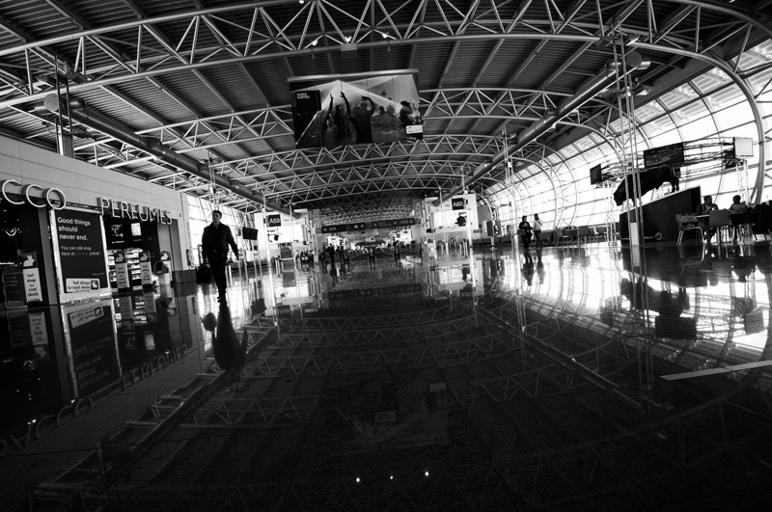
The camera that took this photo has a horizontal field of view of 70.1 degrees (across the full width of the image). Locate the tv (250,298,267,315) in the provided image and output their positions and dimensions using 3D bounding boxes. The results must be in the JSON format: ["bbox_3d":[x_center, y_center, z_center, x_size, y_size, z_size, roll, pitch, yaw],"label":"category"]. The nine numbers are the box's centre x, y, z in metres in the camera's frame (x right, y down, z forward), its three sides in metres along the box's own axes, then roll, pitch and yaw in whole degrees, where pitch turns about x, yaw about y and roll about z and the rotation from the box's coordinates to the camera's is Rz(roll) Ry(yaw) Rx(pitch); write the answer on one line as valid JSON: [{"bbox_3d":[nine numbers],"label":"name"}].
[{"bbox_3d":[-2.199,0.856,9.403,0.204,0.401,0.211,0,-10,-10],"label":"tv"}]

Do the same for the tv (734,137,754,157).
[{"bbox_3d":[12.270,-3.735,18.861,0.638,0.650,0.369,1,1,-11],"label":"tv"}]

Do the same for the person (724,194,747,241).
[{"bbox_3d":[9.857,-1.052,15.323,0.439,1.267,2.364,-2,4,33],"label":"person"}]

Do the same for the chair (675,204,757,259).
[{"bbox_3d":[9.253,-0.705,15.321,1.562,0.871,1.587,-6,0,43],"label":"chair"}]

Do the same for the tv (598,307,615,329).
[{"bbox_3d":[2.571,0.723,6.358,0.175,0.346,0.180,-2,-4,29],"label":"tv"}]
